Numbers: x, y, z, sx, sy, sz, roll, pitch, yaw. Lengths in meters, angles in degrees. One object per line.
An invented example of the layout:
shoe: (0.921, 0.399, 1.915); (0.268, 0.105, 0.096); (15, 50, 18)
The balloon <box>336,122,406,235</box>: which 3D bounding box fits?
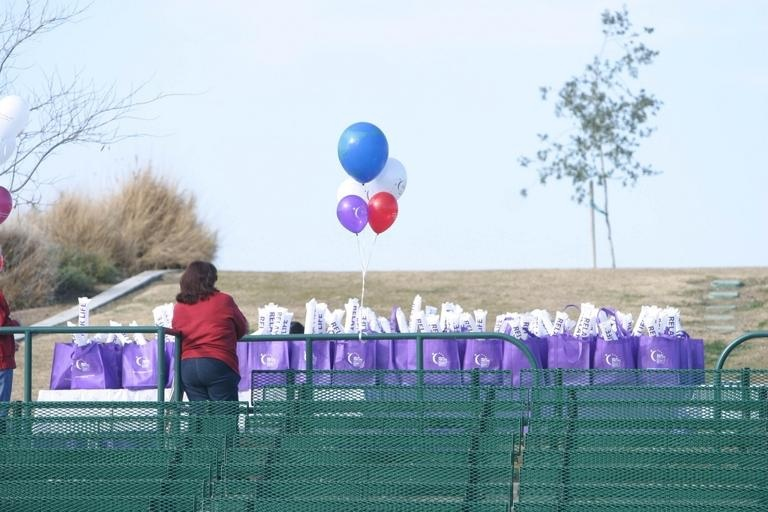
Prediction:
balloon: (-0.230, -1.341, 31.116); (1.242, 1.902, 0.821); (-1, 3, -15)
